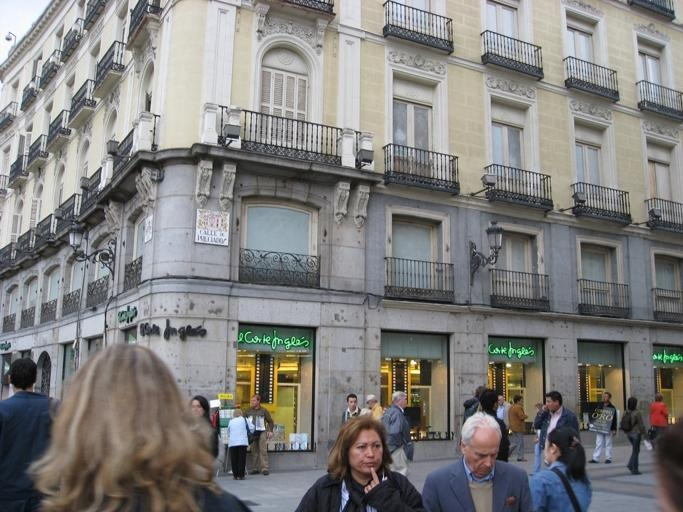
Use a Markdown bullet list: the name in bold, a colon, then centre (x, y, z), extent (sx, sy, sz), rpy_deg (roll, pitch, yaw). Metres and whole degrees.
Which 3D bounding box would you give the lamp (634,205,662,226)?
- **lamp**: centre (11.980, -1.466, 31.283), extent (0.602, 0.802, 1.133), rpy_deg (12, -12, -17)

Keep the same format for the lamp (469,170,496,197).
- **lamp**: centre (4.952, -2.444, 27.715), extent (0.580, 0.556, 1.054), rpy_deg (14, -30, -25)

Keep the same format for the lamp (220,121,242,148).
- **lamp**: centre (-3.284, -3.581, 23.679), extent (0.532, 0.697, 0.555), rpy_deg (6, -14, -16)

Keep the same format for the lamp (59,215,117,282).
- **lamp**: centre (-8.575, -0.364, 27.318), extent (1.634, 2.563, 0.601), rpy_deg (9, -40, -25)

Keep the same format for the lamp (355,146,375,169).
- **lamp**: centre (0.747, -3.093, 25.407), extent (0.538, 0.665, 0.677), rpy_deg (5, -14, -15)

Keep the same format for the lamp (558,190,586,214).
- **lamp**: centre (8.607, -2.031, 29.284), extent (1.053, 1.053, 0.649), rpy_deg (2, -13, 0)
